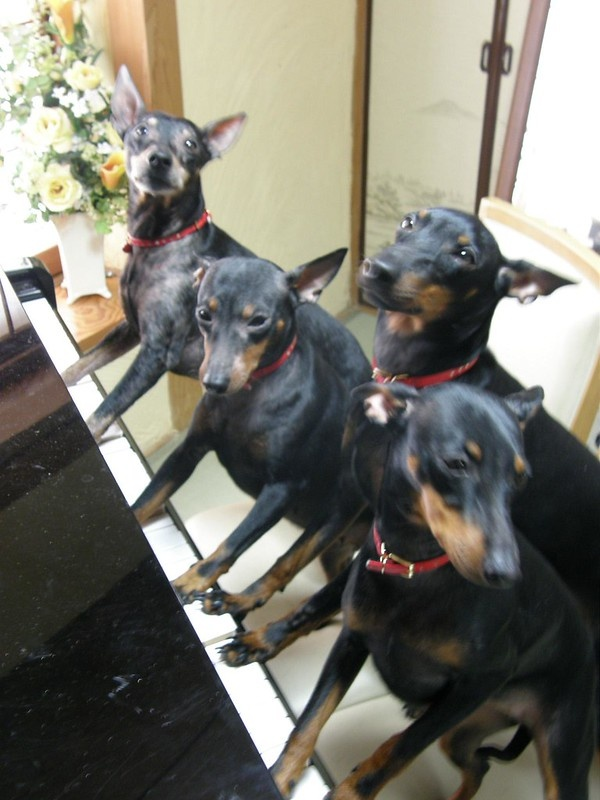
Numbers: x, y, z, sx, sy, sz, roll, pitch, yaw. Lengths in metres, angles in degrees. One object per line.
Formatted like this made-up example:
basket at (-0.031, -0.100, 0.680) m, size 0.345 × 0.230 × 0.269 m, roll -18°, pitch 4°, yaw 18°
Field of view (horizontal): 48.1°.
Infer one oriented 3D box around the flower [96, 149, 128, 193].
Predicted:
flower at (-0.355, -0.438, 1.276) m, size 0.065 × 0.063 × 0.054 m, roll 11°, pitch 85°, yaw 7°
